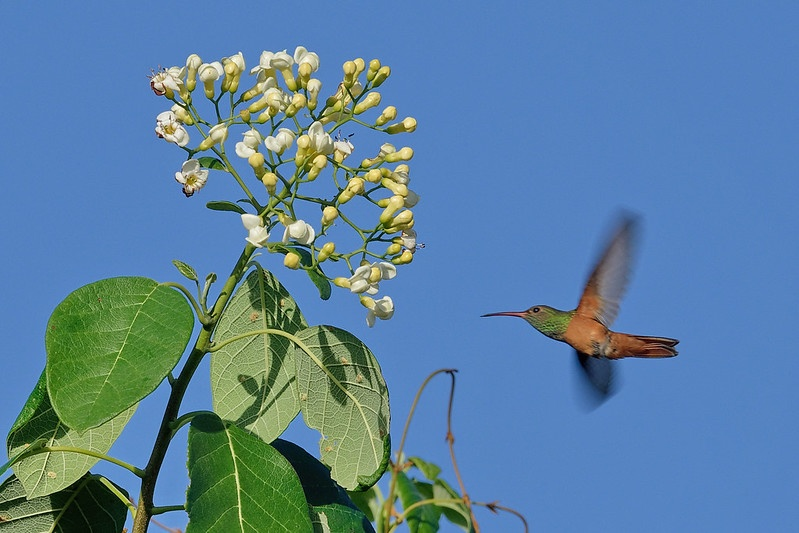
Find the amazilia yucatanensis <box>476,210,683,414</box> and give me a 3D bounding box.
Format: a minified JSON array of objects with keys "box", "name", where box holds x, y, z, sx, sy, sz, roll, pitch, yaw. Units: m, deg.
[{"box":[0.961,0.300,6.699,0.960,0.453,1.298,-7,-7,2],"name":"amazilia yucatanensis"}]
